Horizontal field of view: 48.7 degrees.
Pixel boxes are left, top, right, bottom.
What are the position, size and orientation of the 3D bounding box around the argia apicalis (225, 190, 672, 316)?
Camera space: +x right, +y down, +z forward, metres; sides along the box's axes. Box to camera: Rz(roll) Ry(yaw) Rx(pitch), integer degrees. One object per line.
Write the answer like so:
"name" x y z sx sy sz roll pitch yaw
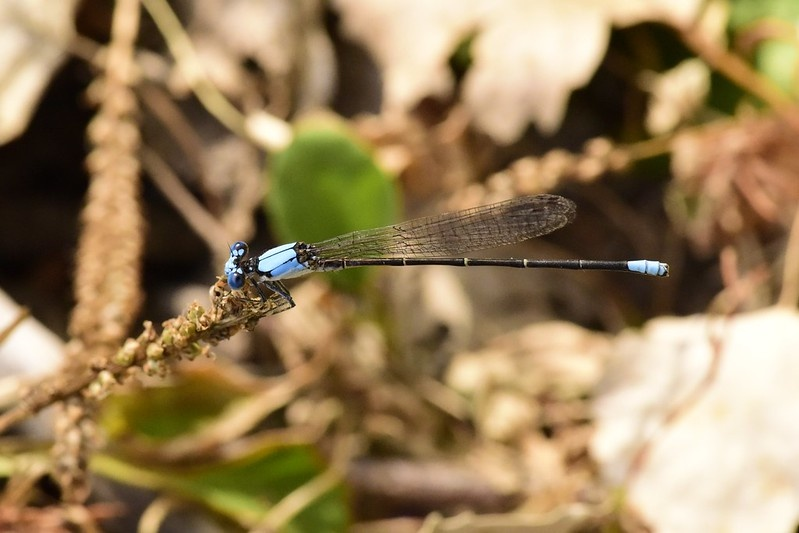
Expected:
"argia apicalis" 0.087 -0.032 1.622 0.760 0.187 0.139 -2 37 -9
